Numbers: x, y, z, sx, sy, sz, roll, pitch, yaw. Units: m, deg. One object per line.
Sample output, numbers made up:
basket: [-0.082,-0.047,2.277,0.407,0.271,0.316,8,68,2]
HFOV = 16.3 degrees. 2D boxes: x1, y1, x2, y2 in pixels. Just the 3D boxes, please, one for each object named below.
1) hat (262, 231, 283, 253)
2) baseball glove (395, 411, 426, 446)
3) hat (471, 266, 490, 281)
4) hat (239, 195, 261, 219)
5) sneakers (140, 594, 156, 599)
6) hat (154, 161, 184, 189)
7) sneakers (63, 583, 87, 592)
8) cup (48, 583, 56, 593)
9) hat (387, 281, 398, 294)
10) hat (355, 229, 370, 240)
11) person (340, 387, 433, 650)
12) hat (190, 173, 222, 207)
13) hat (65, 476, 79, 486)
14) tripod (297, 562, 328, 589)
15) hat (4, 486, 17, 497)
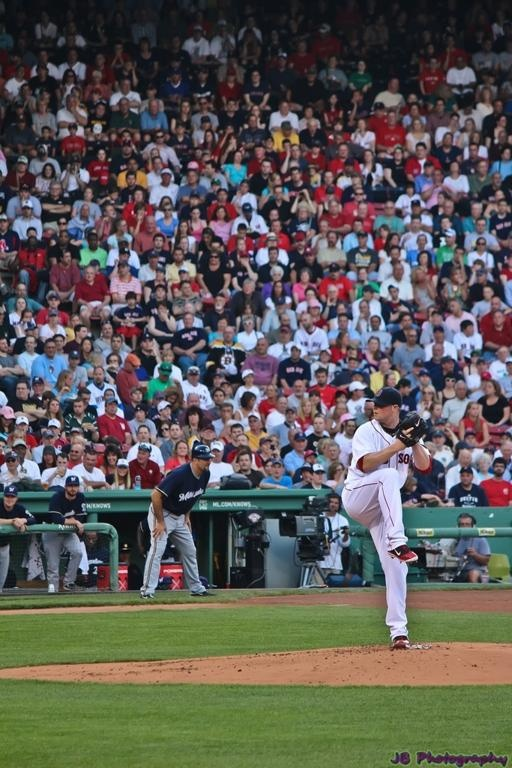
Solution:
hat: [0.217,-2.029,24.968,0.234,0.123,0.306,2,-32,-5]
baseball glove: [1.113,0.308,12.591,0.235,0.175,0.091,-47,-25,25]
hat: [3.197,-1.605,25.523,0.172,0.314,0.145,-5,-2,12]
hat: [-0.113,-2.564,25.611,0.270,0.389,0.130,3,5,-3]
sneakers: [-1.054,2.042,17.143,0.139,0.068,0.050,0,1,21]
hat: [-1.283,-3.031,25.738,0.253,0.383,0.370,0,-3,3]
sneakers: [-1.897,2.093,18.449,0.227,0.113,0.083,1,0,-7]
cup: [-2.111,2.085,18.299,0.069,0.137,0.073,0,-14,0]
hat: [1.902,-1.363,24.839,0.125,0.151,0.260,-5,34,4]
hat: [1.516,-2.172,25.618,0.155,0.086,0.242,1,-11,8]
person: [0.952,0.979,12.980,0.636,1.914,0.821,-1,2,2]
hat: [-0.704,-2.760,25.654,0.380,0.177,0.414,-1,36,-7]
hat: [-1.899,0.986,18.286,0.130,0.114,0.206,-1,1,-5]
tripod: [0.615,2.045,19.195,0.293,0.273,0.383,-1,1,0]
hat: [-2.506,1.092,18.158,0.117,0.103,0.202,7,-5,-4]
